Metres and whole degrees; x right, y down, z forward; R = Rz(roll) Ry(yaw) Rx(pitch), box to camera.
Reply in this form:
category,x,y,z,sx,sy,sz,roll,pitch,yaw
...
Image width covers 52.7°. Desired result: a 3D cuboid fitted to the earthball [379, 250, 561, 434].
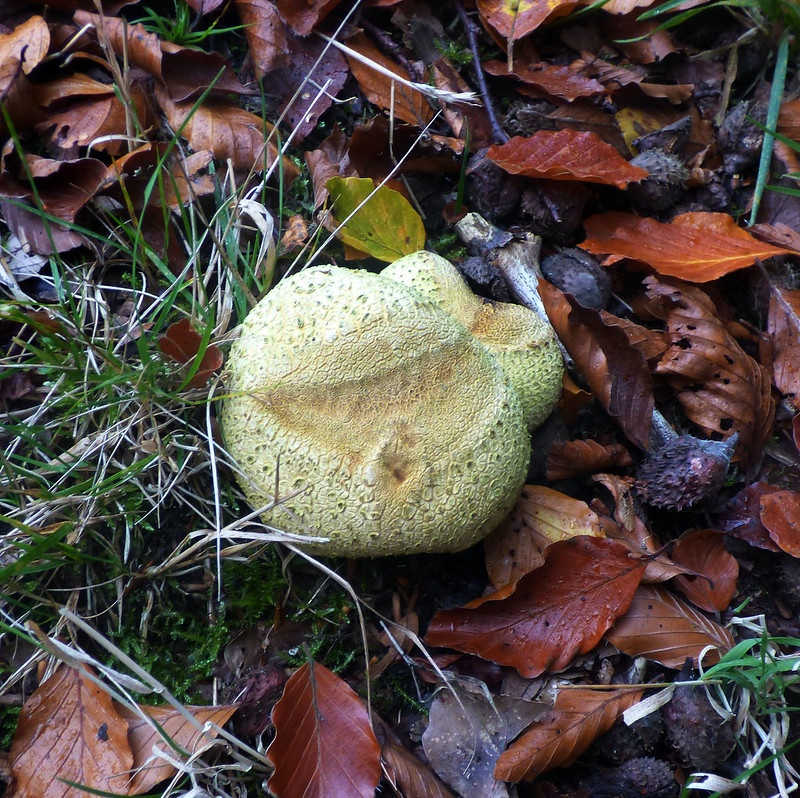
category,x,y,z,sx,sy,sz,roll,pitch,yaw
earthball,0.287,-0.221,2.643,0.742,0.437,0.302,38,105,1
